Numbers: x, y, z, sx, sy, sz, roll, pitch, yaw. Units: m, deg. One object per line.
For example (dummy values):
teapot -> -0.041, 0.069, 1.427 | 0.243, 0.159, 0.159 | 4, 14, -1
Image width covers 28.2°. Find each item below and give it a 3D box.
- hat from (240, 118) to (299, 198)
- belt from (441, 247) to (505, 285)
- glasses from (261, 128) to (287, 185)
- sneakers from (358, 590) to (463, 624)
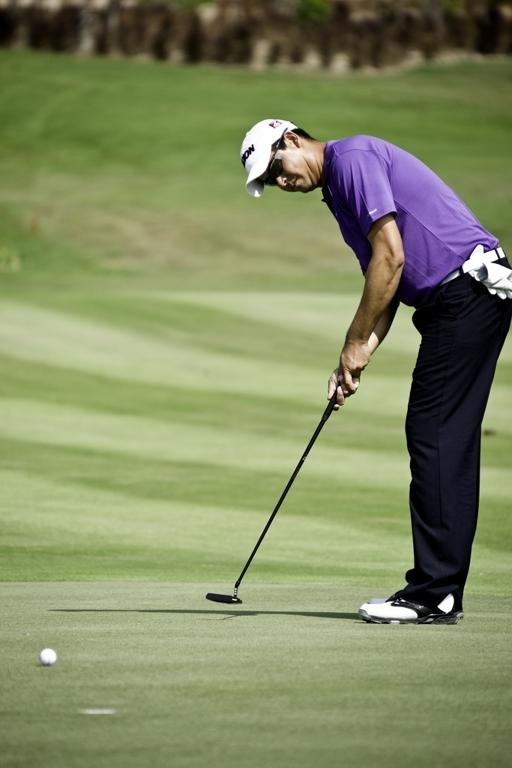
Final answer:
hat -> 0.026, -0.618, 2.694 | 0.138, 0.205, 0.143 | 27, -23, 4
belt -> 0.547, -0.293, 2.542 | 0.142, 0.033, 0.097 | -33, 6, 2
glasses -> 0.049, -0.581, 2.640 | 0.036, 0.100, 0.111 | 16, -14, -2
sneakers -> 0.383, 0.546, 2.485 | 0.253, 0.068, 0.050 | 1, -2, 0
